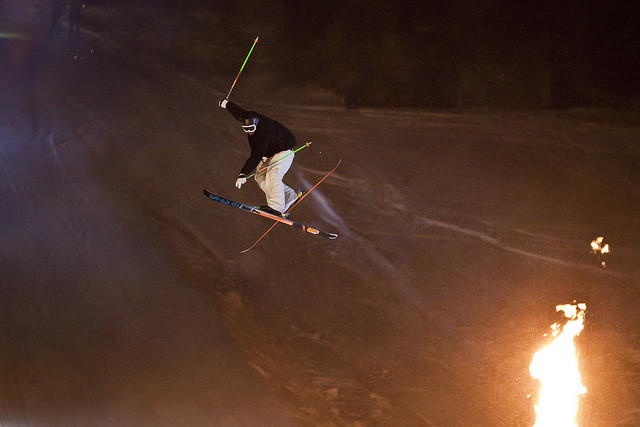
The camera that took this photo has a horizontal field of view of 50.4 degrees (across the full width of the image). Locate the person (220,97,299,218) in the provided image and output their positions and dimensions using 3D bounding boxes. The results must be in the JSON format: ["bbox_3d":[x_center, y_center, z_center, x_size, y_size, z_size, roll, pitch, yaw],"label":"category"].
[{"bbox_3d":[-0.922,-0.698,9.668,1.086,1.115,1.681,2,-64,14],"label":"person"}]

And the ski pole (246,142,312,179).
[{"bbox_3d":[-0.609,-0.751,9.591,0.732,0.085,0.086,-37,-69,-4],"label":"ski pole"}]

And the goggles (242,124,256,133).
[{"bbox_3d":[-0.976,-1.189,9.465,0.180,0.102,0.126,-4,-64,6],"label":"goggles"}]
